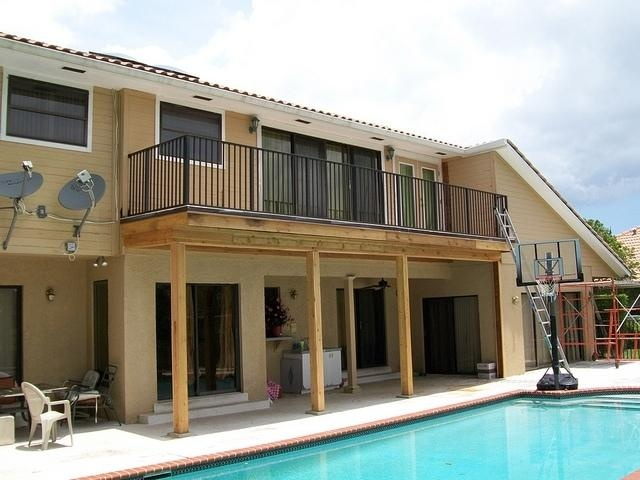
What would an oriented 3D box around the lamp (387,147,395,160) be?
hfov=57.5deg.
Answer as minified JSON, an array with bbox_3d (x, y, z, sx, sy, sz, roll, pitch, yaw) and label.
[{"bbox_3d":[2.086,-2.597,17.277,0.258,0.352,0.213,3,-14,-30],"label":"lamp"}]

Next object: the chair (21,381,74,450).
[{"bbox_3d":[-5.006,3.182,10.771,0.780,1.192,0.806,-1,-1,8],"label":"chair"}]

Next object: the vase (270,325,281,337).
[{"bbox_3d":[-1.174,2.560,16.453,0.161,0.337,0.470,-10,-14,25],"label":"vase"}]

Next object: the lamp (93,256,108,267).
[{"bbox_3d":[-4.754,0.466,12.739,0.263,0.290,0.077,0,-3,1],"label":"lamp"}]

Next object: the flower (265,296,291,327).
[{"bbox_3d":[-1.177,2.071,16.668,0.391,0.944,0.983,-12,-15,33],"label":"flower"}]

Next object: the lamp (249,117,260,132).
[{"bbox_3d":[-1.599,-2.853,14.328,0.246,0.383,0.231,3,-14,-30],"label":"lamp"}]

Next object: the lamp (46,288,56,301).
[{"bbox_3d":[-6.202,1.247,13.440,0.082,0.327,0.215,-12,-15,33],"label":"lamp"}]

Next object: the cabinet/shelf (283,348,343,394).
[{"bbox_3d":[-0.204,3.770,16.940,0.854,1.195,1.649,-9,-10,44],"label":"cabinet/shelf"}]

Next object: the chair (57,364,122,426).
[{"bbox_3d":[-4.783,3.339,12.693,1.425,1.540,1.097,6,-16,-40],"label":"chair"}]
